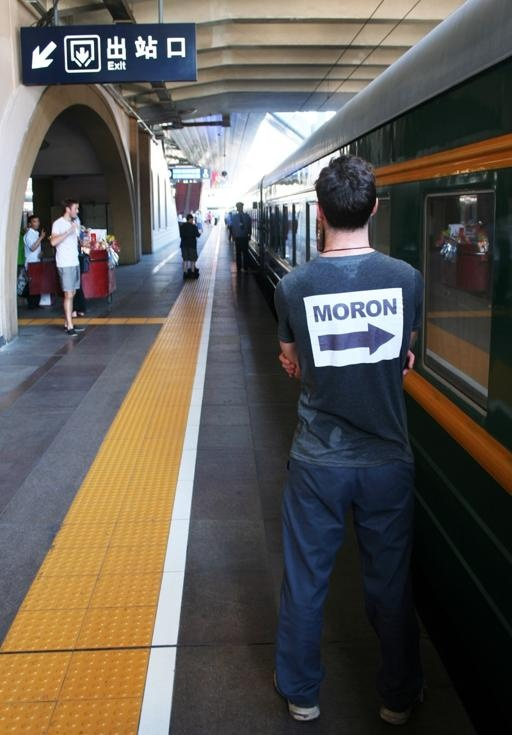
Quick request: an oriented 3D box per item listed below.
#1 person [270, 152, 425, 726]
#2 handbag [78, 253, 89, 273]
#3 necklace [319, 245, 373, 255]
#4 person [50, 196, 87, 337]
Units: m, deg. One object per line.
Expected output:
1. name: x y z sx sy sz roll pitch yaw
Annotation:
1. person: 0.247 0.284 1.307 0.430 1.625 0.386 0 5 12
2. handbag: -3.453 -2.101 9.714 0.193 0.521 0.525 -1 12 -13
3. necklace: 0.214 -0.278 1.155 0.116 0.026 0.076 0 6 10
4. person: -3.341 -1.739 8.609 0.425 2.308 0.547 -3 5 -19
